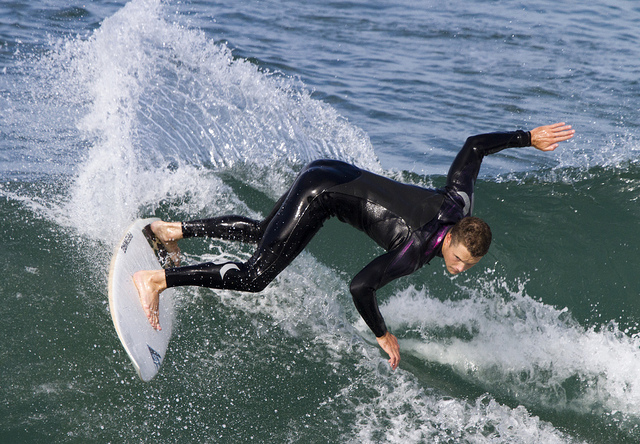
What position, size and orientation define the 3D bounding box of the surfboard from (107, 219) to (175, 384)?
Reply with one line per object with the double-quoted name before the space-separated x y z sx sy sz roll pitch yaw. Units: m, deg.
"surfboard" -2.290 1.033 11.219 0.745 0.265 2.575 14 38 -29
